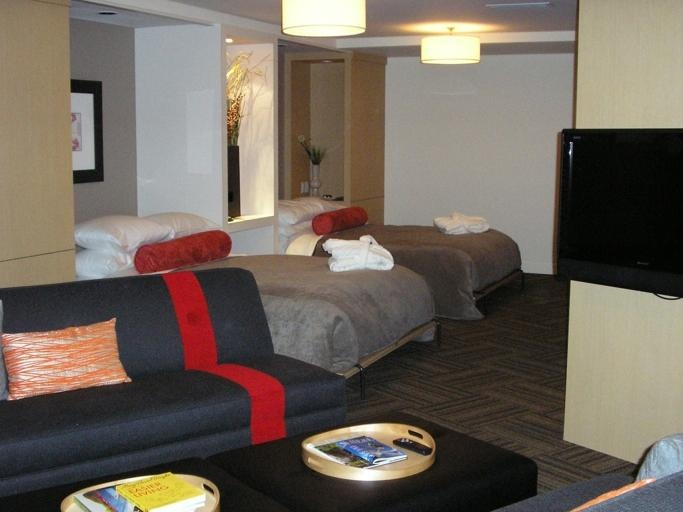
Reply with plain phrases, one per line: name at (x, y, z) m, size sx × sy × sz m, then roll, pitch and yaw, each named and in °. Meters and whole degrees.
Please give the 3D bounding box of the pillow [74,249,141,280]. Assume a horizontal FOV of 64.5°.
pillow at (-1.701, 0.072, 3.833) m, size 0.343 × 0.139 × 0.307 m, roll 5°, pitch 6°, yaw 15°

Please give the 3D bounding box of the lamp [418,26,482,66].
lamp at (1.139, -2.077, 5.537) m, size 0.548 × 0.270 × 0.525 m, roll -6°, pitch 12°, yaw -28°

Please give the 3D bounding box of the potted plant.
potted plant at (-1.020, -1.572, 5.369) m, size 0.414 × 0.965 × 0.733 m, roll 1°, pitch 12°, yaw 9°

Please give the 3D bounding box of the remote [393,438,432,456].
remote at (0.254, 0.682, 1.938) m, size 0.049 × 0.018 × 0.091 m, roll -1°, pitch 6°, yaw -38°

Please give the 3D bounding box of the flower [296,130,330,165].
flower at (-0.332, -1.377, 6.996) m, size 0.466 × 0.389 × 0.431 m, roll 3°, pitch 4°, yaw 30°
